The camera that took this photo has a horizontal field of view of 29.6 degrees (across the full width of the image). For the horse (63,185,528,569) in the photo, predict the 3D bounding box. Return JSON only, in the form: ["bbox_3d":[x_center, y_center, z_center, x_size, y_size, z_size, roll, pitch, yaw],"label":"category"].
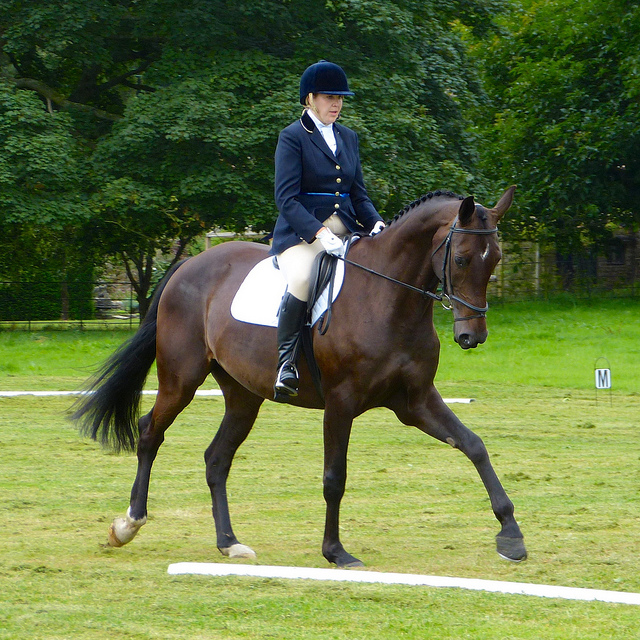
[{"bbox_3d":[-0.213,0.368,8.729,3.192,2.578,0.909,2,4,32],"label":"horse"}]

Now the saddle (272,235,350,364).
[{"bbox_3d":[-0.032,-0.123,8.586,0.484,0.671,0.534,20,19,42],"label":"saddle"}]

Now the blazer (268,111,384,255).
[{"bbox_3d":[0.027,-1.049,8.774,0.939,1.006,0.824,16,17,38],"label":"blazer"}]

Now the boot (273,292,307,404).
[{"bbox_3d":[-0.225,0.172,8.523,0.383,0.625,0.390,-7,18,-20],"label":"boot"}]

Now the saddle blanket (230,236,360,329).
[{"bbox_3d":[-0.089,-0.275,8.934,0.941,0.680,0.778,-9,16,-41],"label":"saddle blanket"}]
